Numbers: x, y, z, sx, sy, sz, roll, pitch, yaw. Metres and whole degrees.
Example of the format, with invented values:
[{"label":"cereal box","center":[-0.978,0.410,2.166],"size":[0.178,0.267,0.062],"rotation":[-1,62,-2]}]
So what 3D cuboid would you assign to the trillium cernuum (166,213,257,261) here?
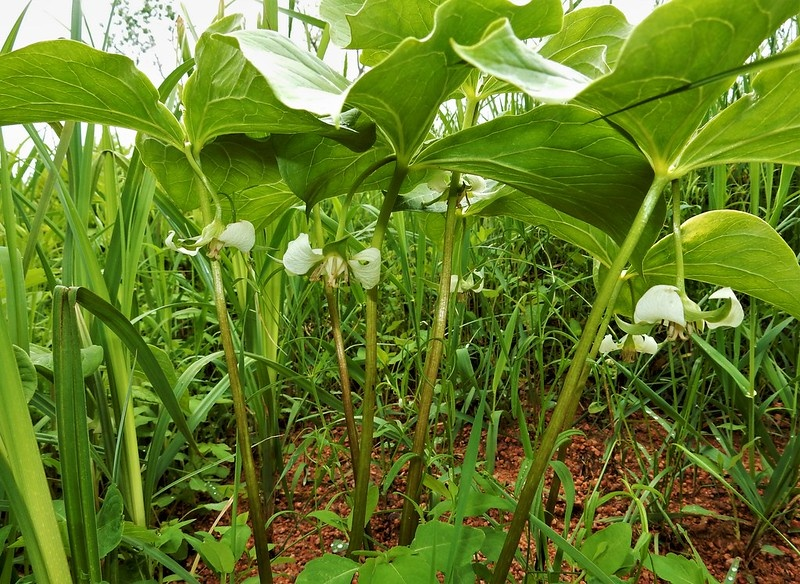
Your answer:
[{"label":"trillium cernuum","center":[-0.434,-0.116,1.363],"size":[0.202,0.085,0.139],"rotation":[4,4,27]}]

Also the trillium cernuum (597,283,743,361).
[{"label":"trillium cernuum","center":[0.522,0.058,1.227],"size":[0.259,0.124,0.228],"rotation":[-8,-29,26]}]

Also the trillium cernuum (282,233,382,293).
[{"label":"trillium cernuum","center":[-0.141,-0.062,1.317],"size":[0.171,0.112,0.152],"rotation":[-1,5,-44]}]
